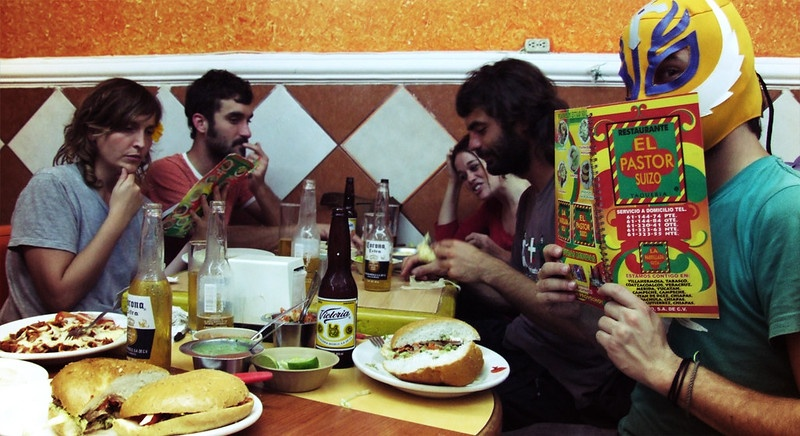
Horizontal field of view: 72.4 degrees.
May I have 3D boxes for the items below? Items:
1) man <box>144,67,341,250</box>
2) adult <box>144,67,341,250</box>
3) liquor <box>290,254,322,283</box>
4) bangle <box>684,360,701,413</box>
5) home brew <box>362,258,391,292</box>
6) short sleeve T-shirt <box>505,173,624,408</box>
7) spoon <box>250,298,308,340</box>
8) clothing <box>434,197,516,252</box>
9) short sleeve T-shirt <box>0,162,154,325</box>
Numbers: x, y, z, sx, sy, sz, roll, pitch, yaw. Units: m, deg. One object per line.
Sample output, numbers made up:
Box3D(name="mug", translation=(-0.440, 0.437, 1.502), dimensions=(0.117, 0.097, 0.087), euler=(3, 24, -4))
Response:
Box3D(name="man", translation=(-0.986, -0.283, 3.198), dimensions=(1.134, 1.100, 0.837), euler=(-1, 6, 10))
Box3D(name="adult", translation=(-1.048, -0.415, 3.659), dimensions=(1.219, 1.203, 0.852), euler=(1, 6, 26))
Box3D(name="liquor", translation=(-0.405, 0.231, 2.436), dimensions=(0.092, 0.111, 0.127), euler=(9, -7, -29))
Box3D(name="bangle", translation=(0.871, 0.504, 1.646), dimensions=(0.028, 0.112, 0.098), euler=(11, 4, 16))
Box3D(name="home brew", translation=(-0.097, 0.243, 2.312), dimensions=(0.127, 0.135, 0.123), euler=(1, -4, -1))
Box3D(name="short sleeve T-shirt", translation=(0.643, 0.319, 2.306), dimensions=(0.247, 0.756, 0.799), euler=(-8, 22, -23))
Box3D(name="spoon", translation=(-0.395, 0.332, 1.771), dimensions=(0.125, 0.051, 0.140), euler=(-6, 10, -1))
Box3D(name="clothing", translation=(0.397, 0.038, 3.014), dimensions=(0.368, 0.128, 0.275), euler=(-6, 23, 11))
Box3D(name="short sleeve T-shirt", translation=(-1.338, 0.119, 2.274), dimensions=(0.331, 0.535, 0.580), euler=(0, -26, 31))
